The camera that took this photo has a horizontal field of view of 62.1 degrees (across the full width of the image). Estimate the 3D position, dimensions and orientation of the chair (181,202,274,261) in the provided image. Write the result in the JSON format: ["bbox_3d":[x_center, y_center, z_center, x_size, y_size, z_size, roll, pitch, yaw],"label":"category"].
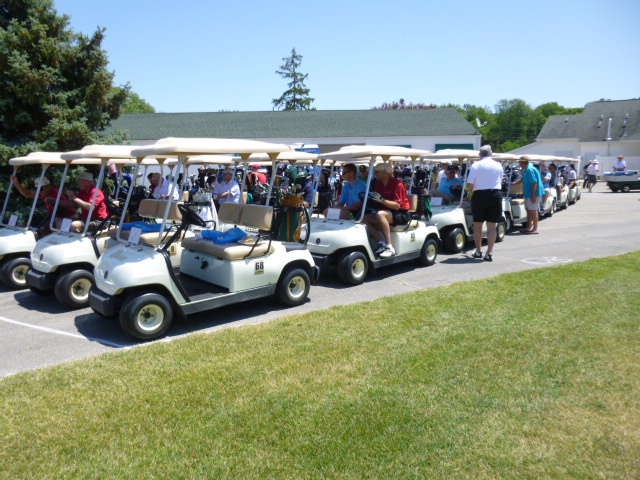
[{"bbox_3d":[-1.073,-0.110,6.756,0.738,0.618,1.013,-6,8,-40],"label":"chair"}]

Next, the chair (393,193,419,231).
[{"bbox_3d":[1.461,-0.449,8.638,0.616,0.699,0.392,-6,6,-44],"label":"chair"}]

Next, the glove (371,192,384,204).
[{"bbox_3d":[0.858,-0.662,8.159,0.199,0.167,0.313,-1,10,6],"label":"glove"}]

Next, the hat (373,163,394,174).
[{"bbox_3d":[0.995,-1.136,8.343,0.189,0.172,0.155,22,29,30],"label":"hat"}]

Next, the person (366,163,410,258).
[{"bbox_3d":[1.022,-0.496,8.315,0.539,1.435,0.773,5,12,35],"label":"person"}]

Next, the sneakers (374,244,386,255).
[{"bbox_3d":[0.970,0.137,8.168,0.269,0.128,0.083,-3,-1,-36],"label":"sneakers"}]

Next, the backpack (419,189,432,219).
[{"bbox_3d":[1.798,-0.632,9.146,0.163,0.477,0.344,2,4,-36],"label":"backpack"}]

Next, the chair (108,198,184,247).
[{"bbox_3d":[-2.403,-0.301,7.256,0.829,0.752,0.833,5,8,41],"label":"chair"}]

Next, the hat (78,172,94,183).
[{"bbox_3d":[-3.605,-0.958,8.135,0.203,0.166,0.372,-7,11,-26],"label":"hat"}]

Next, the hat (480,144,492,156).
[{"bbox_3d":[2.800,-1.535,9.017,0.188,0.215,0.248,-1,-6,33],"label":"hat"}]

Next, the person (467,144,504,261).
[{"bbox_3d":[2.774,-0.622,8.986,0.571,1.936,0.575,1,10,13],"label":"person"}]

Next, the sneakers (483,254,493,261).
[{"bbox_3d":[2.881,0.293,9.071,0.069,0.087,0.195,0,13,9],"label":"sneakers"}]
